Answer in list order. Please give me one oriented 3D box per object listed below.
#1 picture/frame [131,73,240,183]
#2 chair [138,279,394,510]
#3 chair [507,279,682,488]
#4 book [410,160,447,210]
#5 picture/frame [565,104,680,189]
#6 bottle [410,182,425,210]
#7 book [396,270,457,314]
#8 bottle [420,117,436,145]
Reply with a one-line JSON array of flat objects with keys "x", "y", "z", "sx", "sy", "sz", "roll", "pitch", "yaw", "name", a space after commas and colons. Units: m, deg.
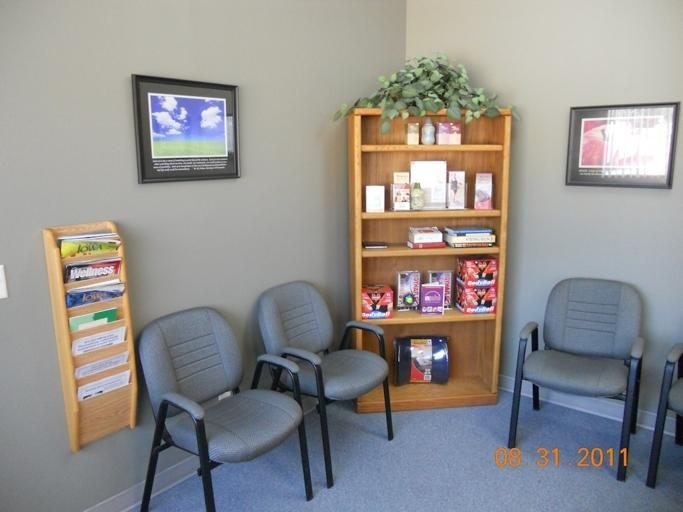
[{"x": -0.907, "y": -0.737, "z": 2.880, "sx": 0.649, "sy": 0.560, "sz": 0.045, "roll": -10, "pitch": 16, "yaw": -41, "name": "picture/frame"}, {"x": -0.435, "y": 0.822, "z": 3.049, "sx": 0.791, "sy": 1.092, "sz": 1.453, "roll": 9, "pitch": 15, "yaw": 41, "name": "chair"}, {"x": 1.699, "y": 0.733, "z": 3.319, "sx": 0.984, "sy": 1.074, "sz": 0.753, "roll": 5, "pitch": 13, "yaw": 28, "name": "chair"}, {"x": 0.613, "y": -0.518, "z": 3.651, "sx": 0.338, "sy": 0.463, "sz": 0.049, "roll": -2, "pitch": 5, "yaw": -11, "name": "book"}, {"x": 1.886, "y": -0.740, "z": 3.367, "sx": 0.573, "sy": 0.504, "sz": 0.046, "roll": 6, "pitch": 11, "yaw": 35, "name": "picture/frame"}, {"x": 0.543, "y": -0.434, "z": 3.640, "sx": 0.086, "sy": 0.190, "sz": 0.084, "roll": -1, "pitch": 12, "yaw": 0, "name": "bottle"}, {"x": 0.627, "y": 0.269, "z": 3.807, "sx": 0.313, "sy": 0.231, "sz": 0.052, "roll": -2, "pitch": 12, "yaw": -9, "name": "book"}, {"x": 0.618, "y": -0.893, "z": 3.613, "sx": 0.101, "sy": 0.194, "sz": 0.210, "roll": 1, "pitch": 12, "yaw": 9, "name": "bottle"}]
